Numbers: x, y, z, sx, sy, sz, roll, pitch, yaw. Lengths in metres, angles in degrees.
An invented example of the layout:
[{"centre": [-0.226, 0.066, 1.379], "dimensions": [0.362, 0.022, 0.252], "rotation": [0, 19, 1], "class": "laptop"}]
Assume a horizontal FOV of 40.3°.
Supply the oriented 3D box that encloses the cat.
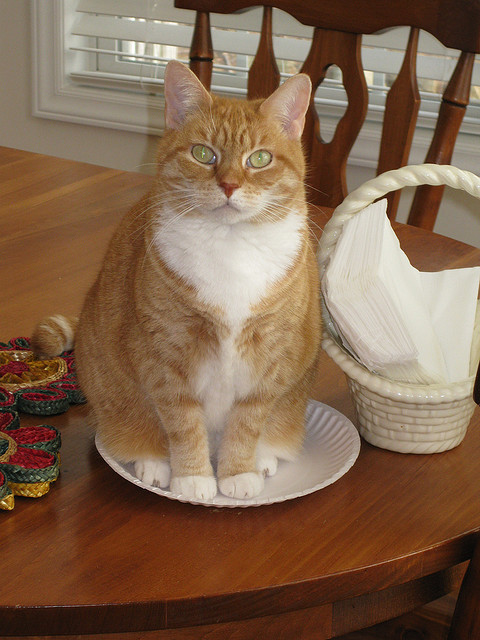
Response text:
[{"centre": [-0.072, -0.079, 0.937], "dimensions": [0.351, 0.483, 0.578], "rotation": [-6, 20, -26], "class": "cat"}]
